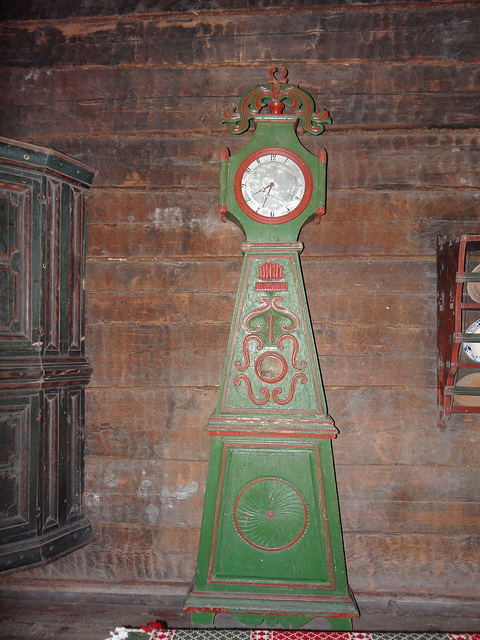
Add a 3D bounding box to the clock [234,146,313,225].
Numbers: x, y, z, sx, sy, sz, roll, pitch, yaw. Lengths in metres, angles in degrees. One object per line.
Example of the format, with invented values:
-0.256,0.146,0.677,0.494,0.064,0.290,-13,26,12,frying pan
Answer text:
0.126,-0.522,3.104,0.384,0.036,0.297,10,107,39,clock
